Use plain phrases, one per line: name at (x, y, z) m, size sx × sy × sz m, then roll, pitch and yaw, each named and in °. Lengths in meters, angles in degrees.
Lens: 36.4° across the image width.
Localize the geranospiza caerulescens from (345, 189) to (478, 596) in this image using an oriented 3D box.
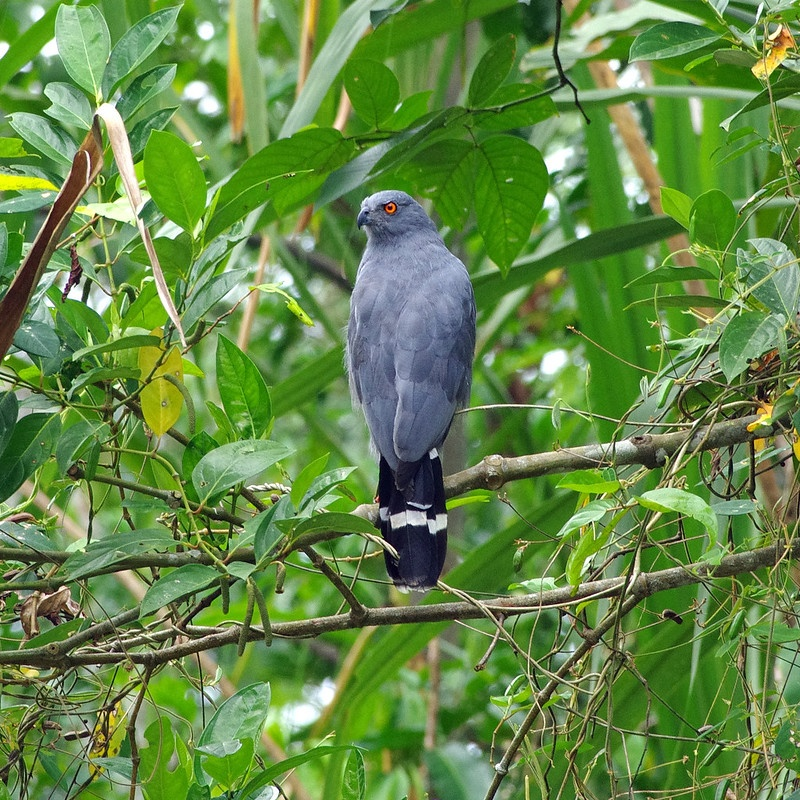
geranospiza caerulescens at (0.044, -0.089, 4.298) m, size 0.417 × 1.053 × 1.686 m, roll 0°, pitch 17°, yaw -2°
